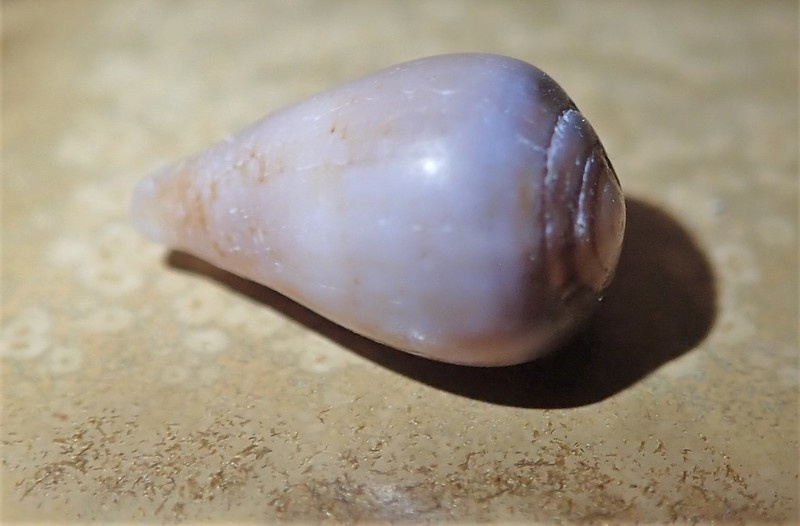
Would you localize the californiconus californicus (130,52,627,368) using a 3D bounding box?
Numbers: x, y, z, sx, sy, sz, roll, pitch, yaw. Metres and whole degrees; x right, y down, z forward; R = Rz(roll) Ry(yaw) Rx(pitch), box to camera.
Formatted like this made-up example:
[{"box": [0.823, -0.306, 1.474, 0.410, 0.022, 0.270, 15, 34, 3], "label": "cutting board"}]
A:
[{"box": [-0.006, -0.094, 1.088, 0.538, 0.217, 0.327, 23, 66, 19], "label": "californiconus californicus"}]
